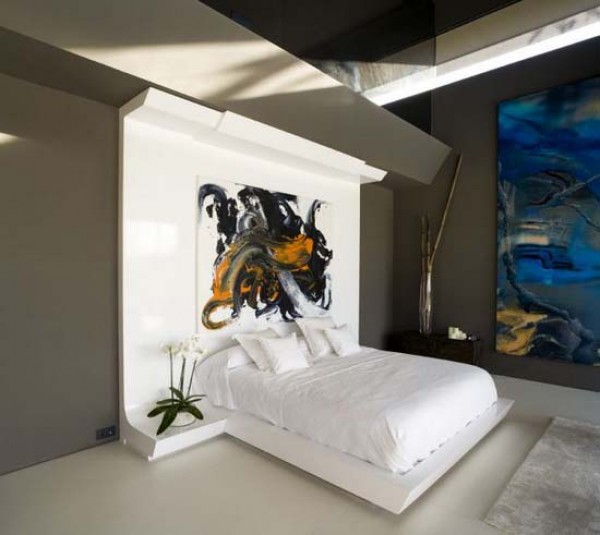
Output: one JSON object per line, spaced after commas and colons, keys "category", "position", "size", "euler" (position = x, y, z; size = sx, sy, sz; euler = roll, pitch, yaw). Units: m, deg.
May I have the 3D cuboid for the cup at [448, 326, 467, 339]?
{"category": "cup", "position": [2.028, 0.802, 5.582], "size": [0.151, 0.116, 0.198], "euler": [3, 9, -30]}

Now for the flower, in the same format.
{"category": "flower", "position": [-1.012, 0.964, 3.627], "size": [0.469, 0.695, 0.613], "euler": [3, -3, -36]}
